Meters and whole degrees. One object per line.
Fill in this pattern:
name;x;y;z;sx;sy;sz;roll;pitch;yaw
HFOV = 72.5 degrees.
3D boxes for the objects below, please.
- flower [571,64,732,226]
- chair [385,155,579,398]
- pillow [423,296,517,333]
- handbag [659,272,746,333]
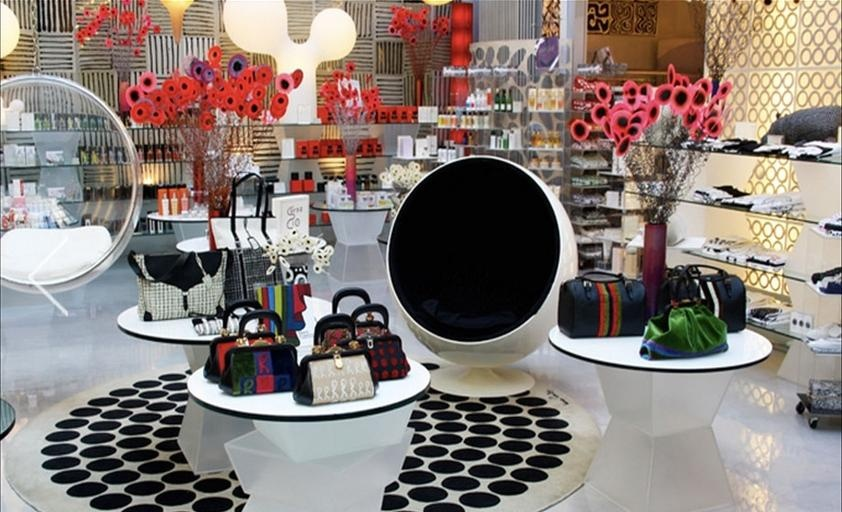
flower;1.671;-0.794;4.084;0.903;1.074;0.379;1;13;8
chair;0.706;0.290;5.974;2.161;2.688;2.004;0;-1;19
pillow;0.422;0.604;5.259;0.616;0.212;0.113;12;-24;15
handbag;1.972;0.238;4.005;0.528;0.536;0.438;0;9;5
